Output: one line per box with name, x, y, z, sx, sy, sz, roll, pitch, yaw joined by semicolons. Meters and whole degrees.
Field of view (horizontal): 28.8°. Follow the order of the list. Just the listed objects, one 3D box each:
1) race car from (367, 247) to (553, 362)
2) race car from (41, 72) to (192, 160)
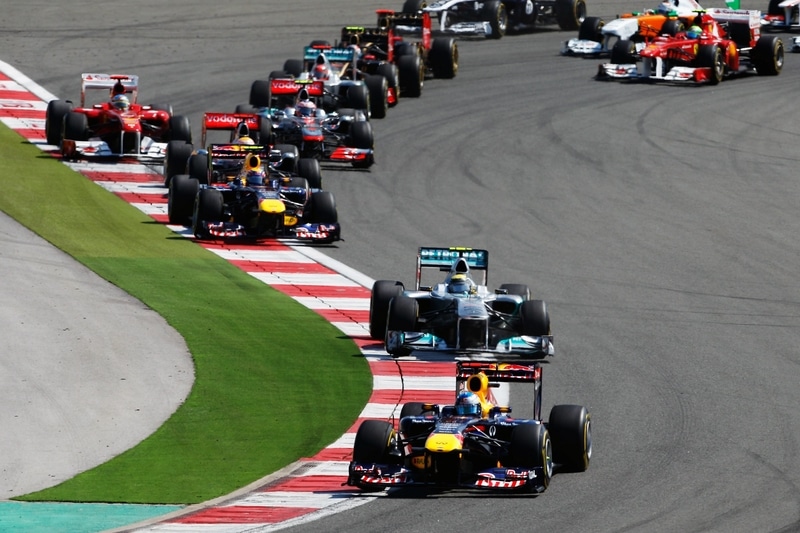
race car;1.301;0.758;35.053;3.891;2.059;5.971;2;5;-2
race car;-8.215;-4.478;45.927;3.777;2.070;5.960;-1;10;-17
